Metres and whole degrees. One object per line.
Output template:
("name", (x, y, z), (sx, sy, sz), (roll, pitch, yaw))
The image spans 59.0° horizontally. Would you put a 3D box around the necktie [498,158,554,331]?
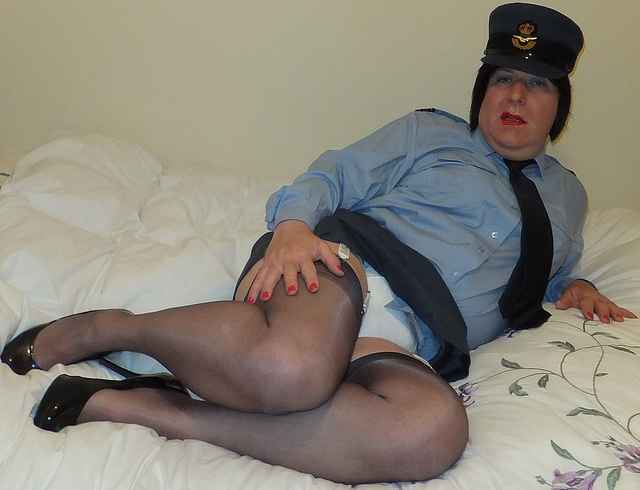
("necktie", (0.587, -0.015, 1.670), (0.056, 0.490, 0.180), (5, -2, 12))
